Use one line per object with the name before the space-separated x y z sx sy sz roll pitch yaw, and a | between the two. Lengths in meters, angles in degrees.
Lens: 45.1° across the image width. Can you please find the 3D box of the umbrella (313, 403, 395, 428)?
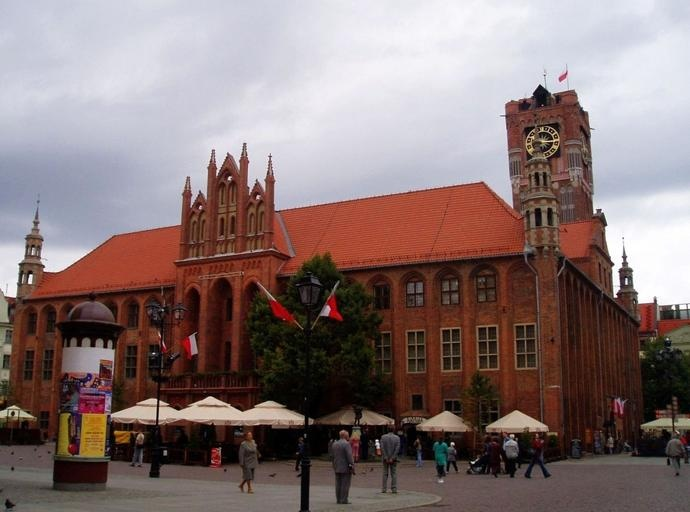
umbrella | 0.262 10.126 52.930 4.030 1.626 3.608 -9 -15 34

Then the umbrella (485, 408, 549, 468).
umbrella | 9.992 9.711 47.426 2.216 2.592 1.893 -5 -12 32

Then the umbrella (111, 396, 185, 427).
umbrella | -11.363 9.158 48.679 3.793 1.335 3.837 -1 -15 7
